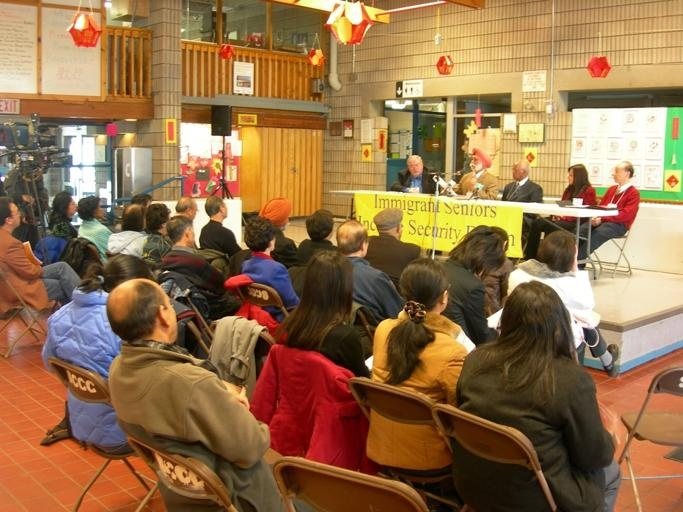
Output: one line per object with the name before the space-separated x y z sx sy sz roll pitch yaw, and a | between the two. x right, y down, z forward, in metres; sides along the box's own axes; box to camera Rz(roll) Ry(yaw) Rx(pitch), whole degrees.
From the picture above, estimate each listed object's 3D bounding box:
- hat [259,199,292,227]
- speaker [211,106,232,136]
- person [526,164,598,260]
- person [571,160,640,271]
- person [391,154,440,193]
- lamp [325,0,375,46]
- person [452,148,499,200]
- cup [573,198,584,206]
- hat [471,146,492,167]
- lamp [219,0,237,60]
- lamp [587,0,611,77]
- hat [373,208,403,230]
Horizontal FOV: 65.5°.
hat | -0.669 -0.458 5.345 0.315 0.269 0.261 -3 19 -15
speaker | -2.695 -2.999 11.844 0.577 0.692 0.283 10 12 41
person | 3.398 -0.722 8.029 0.807 1.189 0.485 -19 37 -7
person | 3.730 -0.549 7.580 0.759 1.469 0.595 -1 21 -5
person | 1.275 -1.447 9.376 0.750 0.630 1.728 4 9 8
lamp | 0.094 -2.746 6.158 0.478 0.437 0.501 0 5 7
person | 2.252 -1.254 8.965 0.636 1.126 0.790 -3 7 -15
cup | 3.134 -0.711 7.066 0.144 0.129 0.161 -1 -4 25
hat | 2.339 -1.640 8.905 0.292 0.314 0.307 4 9 8
lamp | -2.659 -5.260 12.232 0.350 1.671 2.062 0 10 -13
lamp | 4.628 -3.684 9.478 0.396 1.016 0.803 6 10 25
hat | 0.429 -0.348 4.868 0.219 0.089 0.182 -27 44 0
